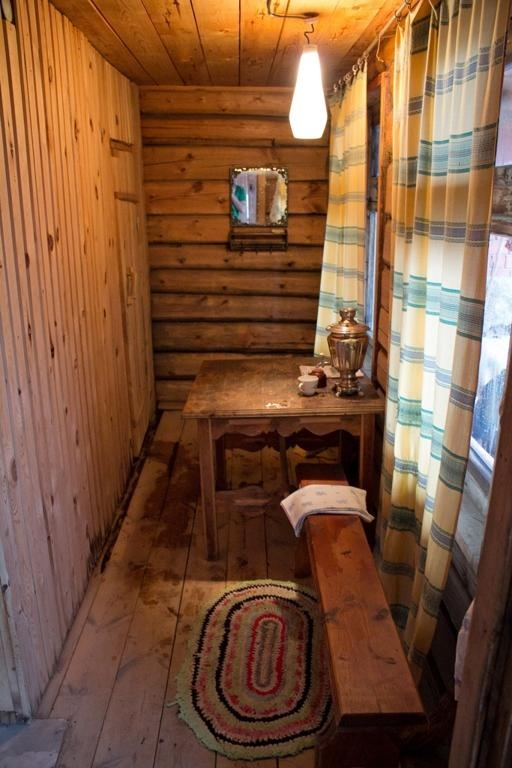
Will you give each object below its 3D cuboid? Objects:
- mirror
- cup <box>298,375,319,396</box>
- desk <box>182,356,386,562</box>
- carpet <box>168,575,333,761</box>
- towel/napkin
[{"bbox_3d":[0.007,-1.619,4.309,0.417,0.474,0.032,-1,14,-4],"label":"mirror"},{"bbox_3d":[0.267,0.017,2.704,0.071,0.082,0.112,-1,7,1],"label":"cup"},{"bbox_3d":[0.246,0.440,3.104,0.976,0.870,1.252,-3,6,14],"label":"desk"},{"bbox_3d":[-0.012,0.996,1.890,0.341,0.026,0.609,7,27,3],"label":"carpet"},{"bbox_3d":[0.303,0.536,2.287,0.256,0.082,0.278,-4,15,-4],"label":"towel/napkin"}]
